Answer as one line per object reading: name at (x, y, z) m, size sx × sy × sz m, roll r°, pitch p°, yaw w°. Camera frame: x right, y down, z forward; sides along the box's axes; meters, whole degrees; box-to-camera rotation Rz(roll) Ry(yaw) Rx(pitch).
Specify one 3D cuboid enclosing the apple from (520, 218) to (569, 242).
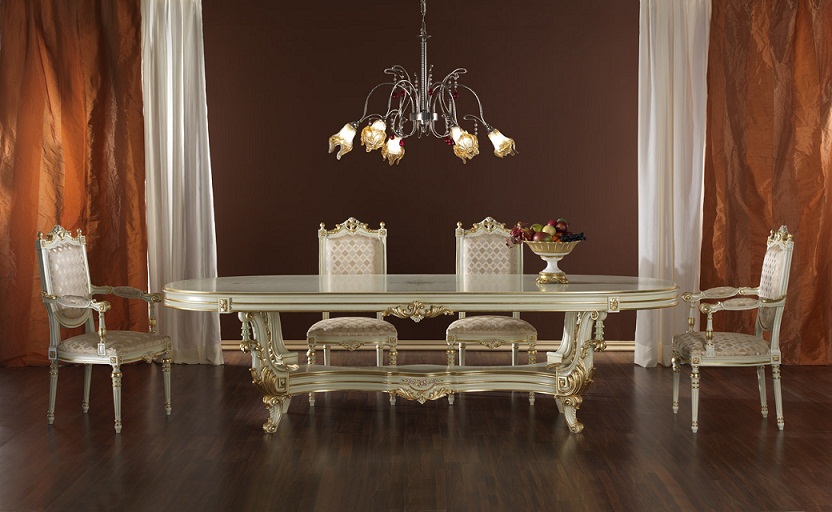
apple at (1.061, -0.198, 5.507) m, size 0.354 × 0.147 × 0.215 m, roll -2°, pitch 1°, yaw 17°

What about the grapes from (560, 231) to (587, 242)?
grapes at (1.292, -0.151, 5.435) m, size 0.179 × 0.092 × 0.203 m, roll -2°, pitch -10°, yaw 18°

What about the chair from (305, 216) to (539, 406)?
chair at (0.050, 0.483, 6.029) m, size 1.708 × 1.539 × 0.774 m, roll 0°, pitch 1°, yaw -2°
